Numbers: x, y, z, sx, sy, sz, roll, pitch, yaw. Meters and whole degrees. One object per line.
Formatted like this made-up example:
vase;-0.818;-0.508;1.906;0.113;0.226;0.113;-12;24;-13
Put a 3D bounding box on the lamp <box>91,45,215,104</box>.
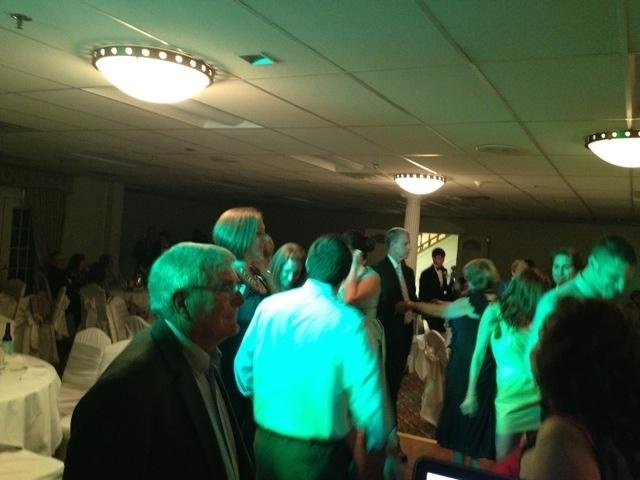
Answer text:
lamp;-0.958;-0.952;2.693;0.376;0.098;0.376;2;-11;4
